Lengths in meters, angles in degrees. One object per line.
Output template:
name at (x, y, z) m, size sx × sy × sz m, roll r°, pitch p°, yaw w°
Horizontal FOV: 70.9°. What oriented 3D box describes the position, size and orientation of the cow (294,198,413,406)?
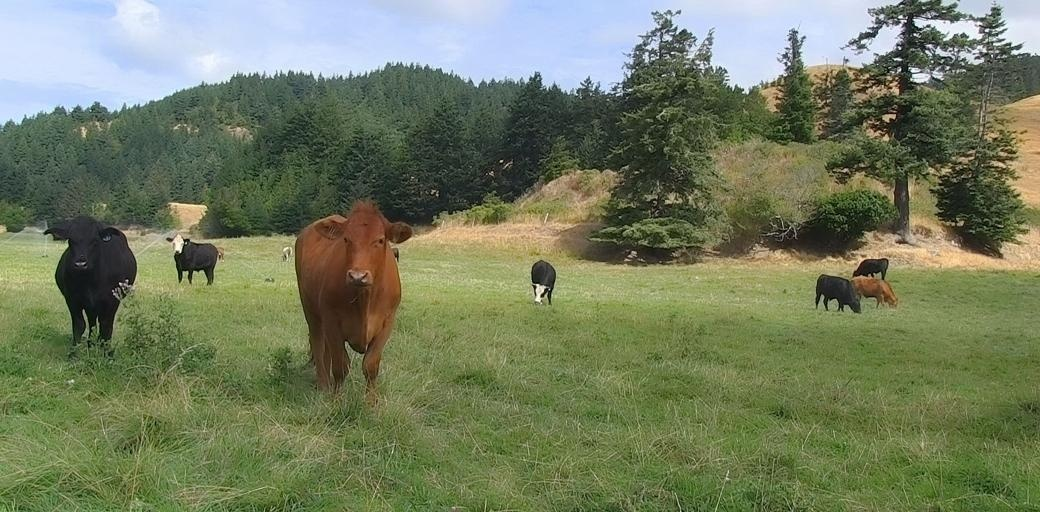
cow at (-9.274, 2.156, 39.498) m, size 5.302 × 10.517 × 2.199 m, roll 8°, pitch 4°, yaw 26°
